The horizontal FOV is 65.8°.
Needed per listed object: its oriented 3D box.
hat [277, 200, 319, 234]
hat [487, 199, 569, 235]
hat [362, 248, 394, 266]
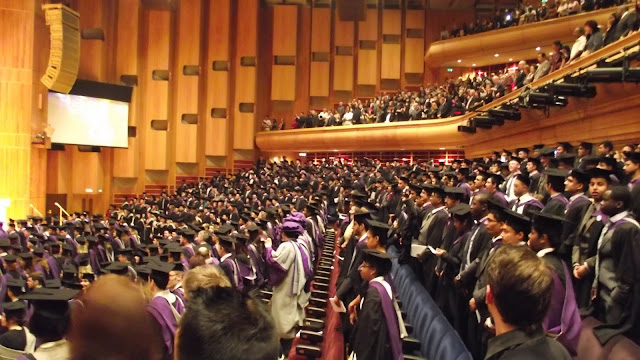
[{"bbox_3d":[-0.811,1.064,14.231,1.122,0.497,0.861,3,11,21],"label":"hat"},{"bbox_3d":[3.891,0.692,10.401,1.068,0.527,1.032,7,-3,-23],"label":"hat"},{"bbox_3d":[1.073,1.487,9.763,0.336,0.126,0.445,10,-2,41],"label":"hat"}]
